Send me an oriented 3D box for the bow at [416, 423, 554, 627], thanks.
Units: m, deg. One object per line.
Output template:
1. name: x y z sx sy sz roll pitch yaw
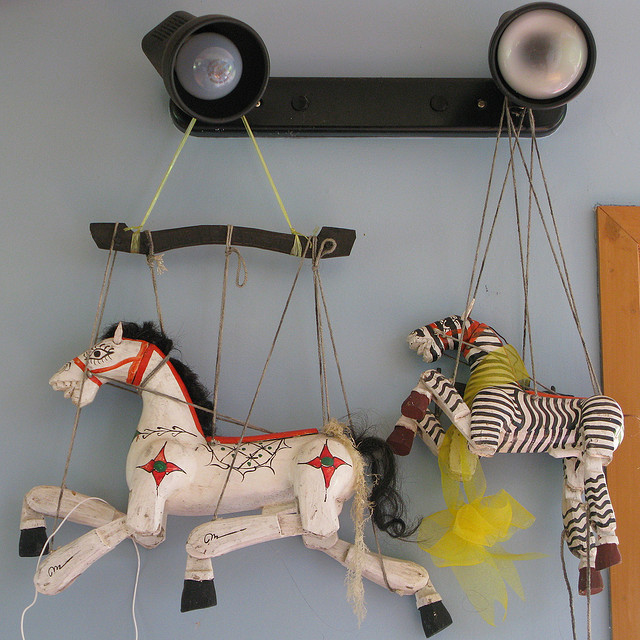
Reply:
1. bow: 0.274 0.362 1.694 0.274 0.319 0.120 -3 -9 -2

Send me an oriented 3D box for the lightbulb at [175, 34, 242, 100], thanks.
1. lightbulb: -0.189 -0.428 1.571 0.109 0.094 0.059 5 -5 -10

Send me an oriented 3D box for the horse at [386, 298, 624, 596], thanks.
1. horse: 0.333 0.202 1.638 0.396 0.451 0.135 2 -11 7

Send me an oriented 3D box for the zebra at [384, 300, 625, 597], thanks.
1. zebra: 0.271 0.309 1.758 0.478 0.558 0.360 0 31 -8

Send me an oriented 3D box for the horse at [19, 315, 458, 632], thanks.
1. horse: -0.156 0.264 1.646 0.798 0.539 0.257 3 -6 12
